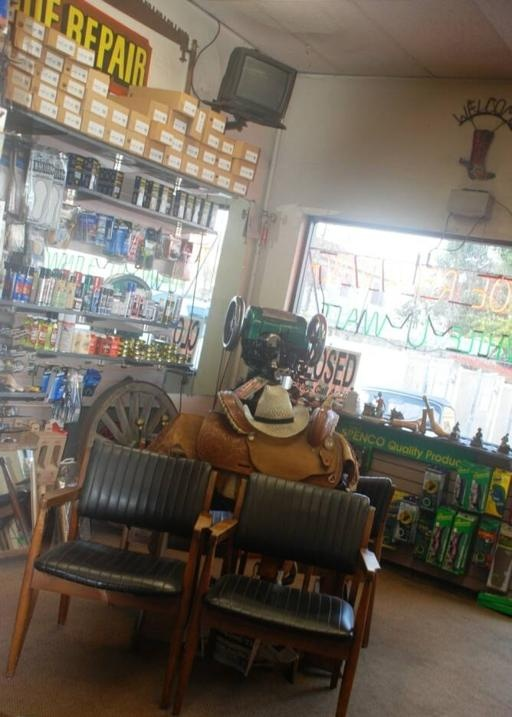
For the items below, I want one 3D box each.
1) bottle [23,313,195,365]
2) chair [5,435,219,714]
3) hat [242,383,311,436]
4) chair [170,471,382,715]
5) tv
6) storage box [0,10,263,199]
[{"bbox_3d":[-0.995,-0.143,3.477,0.049,0.235,1.365,8,-2,26],"label":"bottle"},{"bbox_3d":[-0.468,0.710,1.803,0.551,0.767,0.468,12,-5,-2],"label":"chair"},{"bbox_3d":[0.078,0.201,2.387,0.314,0.159,0.392,-2,12,-19],"label":"hat"},{"bbox_3d":[0.061,0.845,1.884,0.612,0.807,0.508,14,-19,15],"label":"chair"},{"bbox_3d":[-0.003,-1.767,3.416,0.426,0.386,0.236,8,24,-25],"label":"tv"},{"bbox_3d":[-0.769,-1.534,3.202,0.383,0.460,1.921,20,1,35],"label":"storage box"}]
